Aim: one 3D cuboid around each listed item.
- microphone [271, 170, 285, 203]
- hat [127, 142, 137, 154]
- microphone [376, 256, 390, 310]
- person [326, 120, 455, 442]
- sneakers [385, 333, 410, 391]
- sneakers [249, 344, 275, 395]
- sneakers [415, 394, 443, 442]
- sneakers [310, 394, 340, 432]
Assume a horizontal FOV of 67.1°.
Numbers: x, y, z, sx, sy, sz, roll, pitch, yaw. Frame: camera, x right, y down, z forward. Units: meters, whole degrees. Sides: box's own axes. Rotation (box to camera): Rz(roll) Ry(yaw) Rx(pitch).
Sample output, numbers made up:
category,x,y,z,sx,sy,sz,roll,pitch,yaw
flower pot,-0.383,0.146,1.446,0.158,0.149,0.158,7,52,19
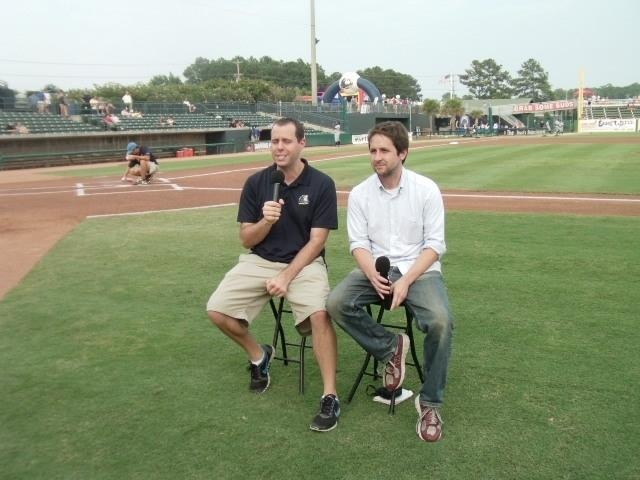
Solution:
category,x,y,z,sx,sy,sz,roll,pitch,yaw
microphone,-0.334,-0.446,3.919,0.108,0.240,0.377,-5,17,-4
hat,-6.778,-3.326,17.435,0.291,0.358,0.315,-10,18,-19
microphone,0.488,0.322,3.671,0.118,0.452,0.200,-2,18,6
person,0.564,0.170,3.696,0.876,2.054,1.397,1,18,13
sneakers,0.586,0.907,3.639,0.176,0.430,0.159,22,-24,-33
sneakers,-0.468,1.027,3.873,0.131,0.382,0.177,-2,-10,33
sneakers,0.743,1.204,3.255,0.111,0.121,0.305,2,21,-4
sneakers,0.036,1.199,3.383,0.191,0.187,0.274,-1,17,8
